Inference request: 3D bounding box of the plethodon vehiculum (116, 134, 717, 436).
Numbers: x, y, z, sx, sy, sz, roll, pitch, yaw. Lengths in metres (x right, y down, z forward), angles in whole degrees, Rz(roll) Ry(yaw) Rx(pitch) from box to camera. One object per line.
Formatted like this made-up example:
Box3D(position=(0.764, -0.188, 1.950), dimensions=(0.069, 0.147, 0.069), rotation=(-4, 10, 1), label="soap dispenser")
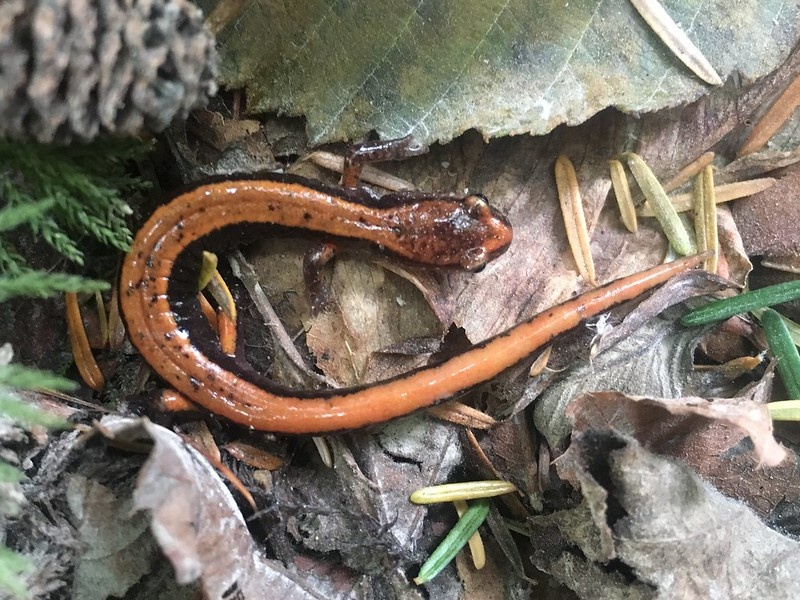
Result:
Box3D(position=(-0.175, -0.037, 3.367), dimensions=(1.794, 0.446, 1.039), rotation=(-9, 82, -6), label="plethodon vehiculum")
